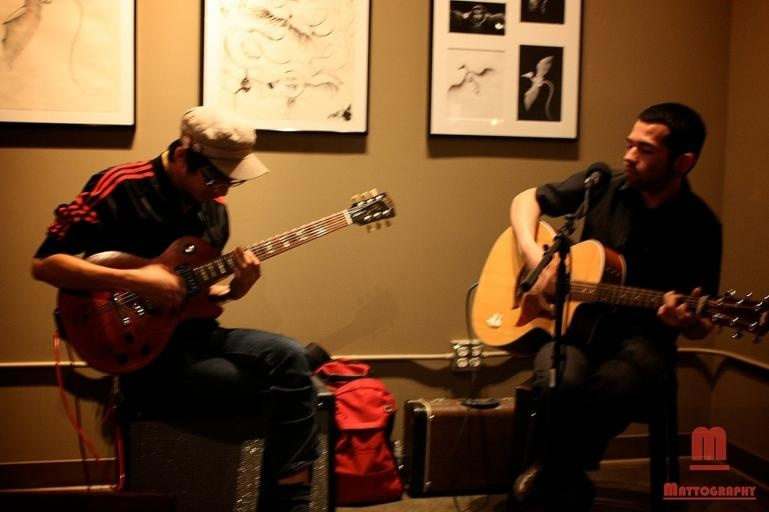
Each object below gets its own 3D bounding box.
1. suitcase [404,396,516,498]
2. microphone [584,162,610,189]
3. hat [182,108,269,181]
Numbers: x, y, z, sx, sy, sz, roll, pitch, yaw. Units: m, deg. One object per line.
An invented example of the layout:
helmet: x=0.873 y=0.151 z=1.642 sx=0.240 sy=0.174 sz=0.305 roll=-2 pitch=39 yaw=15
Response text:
suitcase: x=0.480 y=1.079 z=3.901 sx=0.675 sy=0.516 sz=0.379 roll=2 pitch=-5 yaw=-10
microphone: x=1.086 y=-0.420 z=3.457 sx=0.124 sy=0.063 sz=0.180 roll=0 pitch=17 yaw=27
hat: x=-0.784 y=-0.593 z=3.396 sx=0.506 sy=0.251 sz=0.364 roll=19 pitch=24 yaw=8
